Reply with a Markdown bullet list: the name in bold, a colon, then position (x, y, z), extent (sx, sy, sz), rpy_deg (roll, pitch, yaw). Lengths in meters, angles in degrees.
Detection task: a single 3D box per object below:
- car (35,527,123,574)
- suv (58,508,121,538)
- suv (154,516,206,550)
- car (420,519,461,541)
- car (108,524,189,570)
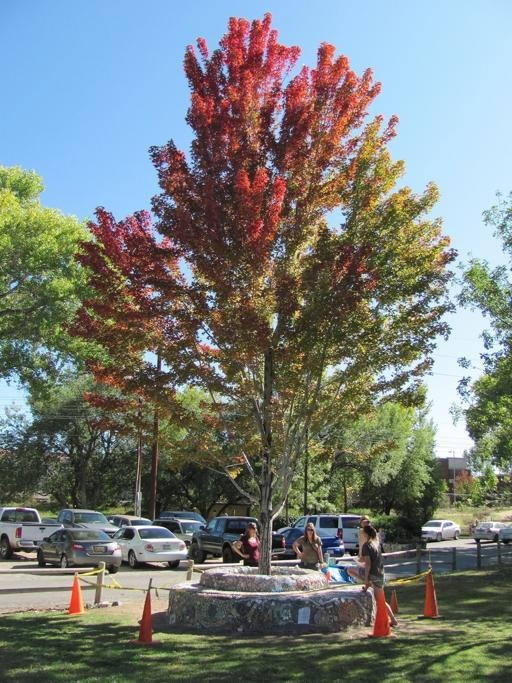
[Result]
- **car**: position (-4.863, 5.773, 21.234), extent (1.177, 1.135, 2.452), rpy_deg (15, -18, -40)
- **suv**: position (-5.799, 6.181, 26.271), extent (1.047, 0.838, 2.173), rpy_deg (11, -19, -38)
- **suv**: position (-2.911, 7.420, 29.820), extent (2.414, 0.911, 1.186), rpy_deg (-12, -17, 40)
- **car**: position (10.693, 11.289, 45.688), extent (1.408, 0.831, 3.146), rpy_deg (-14, -22, 36)
- **car**: position (-3.359, 6.293, 23.828), extent (1.134, 0.704, 2.481), rpy_deg (5, -8, -30)
